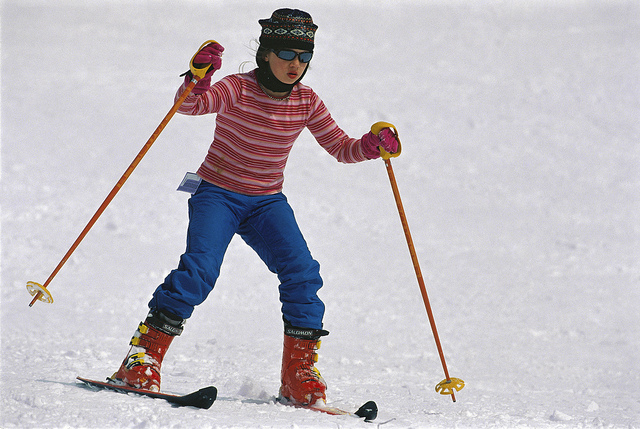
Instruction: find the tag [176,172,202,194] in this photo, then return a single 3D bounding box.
[{"bbox_3d":[-1.609,-0.391,10.890,0.267,0.260,0.069,33,-6,-18],"label":"tag"}]
